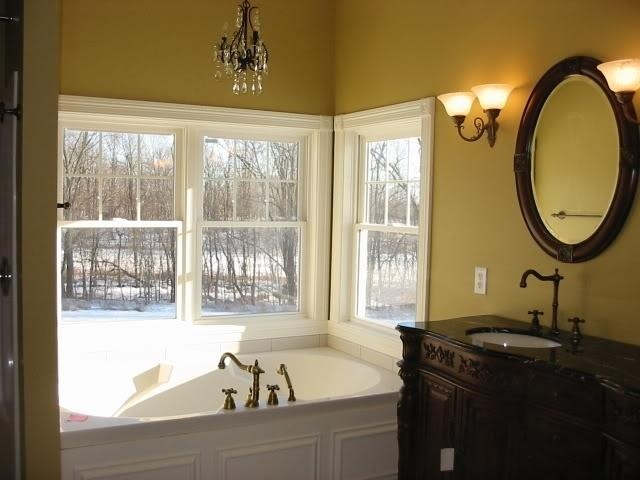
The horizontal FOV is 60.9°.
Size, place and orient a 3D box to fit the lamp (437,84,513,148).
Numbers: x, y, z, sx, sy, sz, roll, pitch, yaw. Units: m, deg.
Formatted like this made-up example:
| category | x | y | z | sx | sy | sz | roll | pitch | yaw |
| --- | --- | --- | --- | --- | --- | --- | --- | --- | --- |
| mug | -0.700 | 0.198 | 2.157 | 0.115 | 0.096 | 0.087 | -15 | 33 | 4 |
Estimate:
| category | x | y | z | sx | sy | sz | roll | pitch | yaw |
| --- | --- | --- | --- | --- | --- | --- | --- | --- | --- |
| lamp | 0.869 | -0.664 | 2.998 | 0.279 | 0.306 | 0.399 | -10 | 7 | -42 |

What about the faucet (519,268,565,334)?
| category | x | y | z | sx | sy | sz | roll | pitch | yaw |
| --- | --- | --- | --- | --- | --- | --- | --- | --- | --- |
| faucet | 1.108 | 0.298 | 2.714 | 0.187 | 0.305 | 0.352 | 0 | 1 | 25 |
